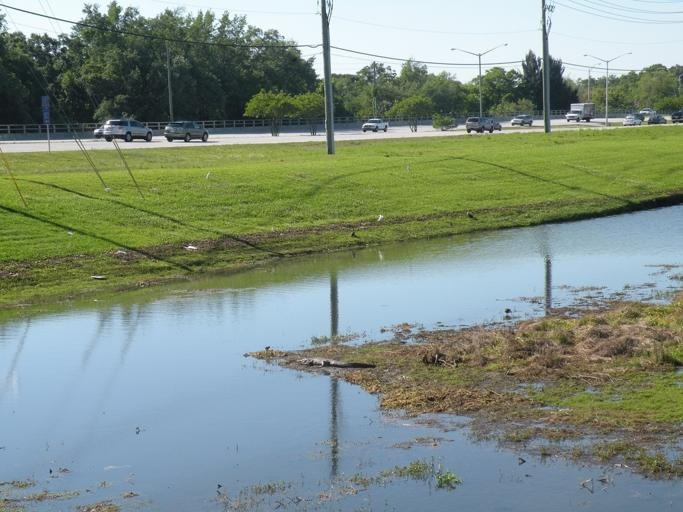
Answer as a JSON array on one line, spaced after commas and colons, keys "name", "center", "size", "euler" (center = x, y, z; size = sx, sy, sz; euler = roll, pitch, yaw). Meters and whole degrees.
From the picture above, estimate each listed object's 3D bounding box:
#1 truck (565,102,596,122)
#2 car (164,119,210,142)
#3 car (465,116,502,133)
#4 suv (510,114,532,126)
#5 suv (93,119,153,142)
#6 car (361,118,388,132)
[{"name": "truck", "center": [26.741, -16.263, 122.107], "size": [2.492, 2.547, 4.716], "euler": [1, 3, 41]}, {"name": "car", "center": [-9.881, -7.968, 70.273], "size": [1.378, 1.037, 2.809], "euler": [7, 13, 31]}, {"name": "car", "center": [11.780, -10.734, 89.644], "size": [2.848, 1.022, 1.629], "euler": [-12, 16, -43]}, {"name": "suv", "center": [18.447, -13.862, 111.092], "size": [1.197, 0.993, 2.123], "euler": [2, 4, 39]}, {"name": "suv", "center": [-13.780, -7.806, 68.900], "size": [2.870, 1.542, 5.742], "euler": [0, 13, 3]}, {"name": "car", "center": [2.946, -11.487, 96.285], "size": [1.319, 0.847, 2.229], "euler": [0, 3, 25]}]
